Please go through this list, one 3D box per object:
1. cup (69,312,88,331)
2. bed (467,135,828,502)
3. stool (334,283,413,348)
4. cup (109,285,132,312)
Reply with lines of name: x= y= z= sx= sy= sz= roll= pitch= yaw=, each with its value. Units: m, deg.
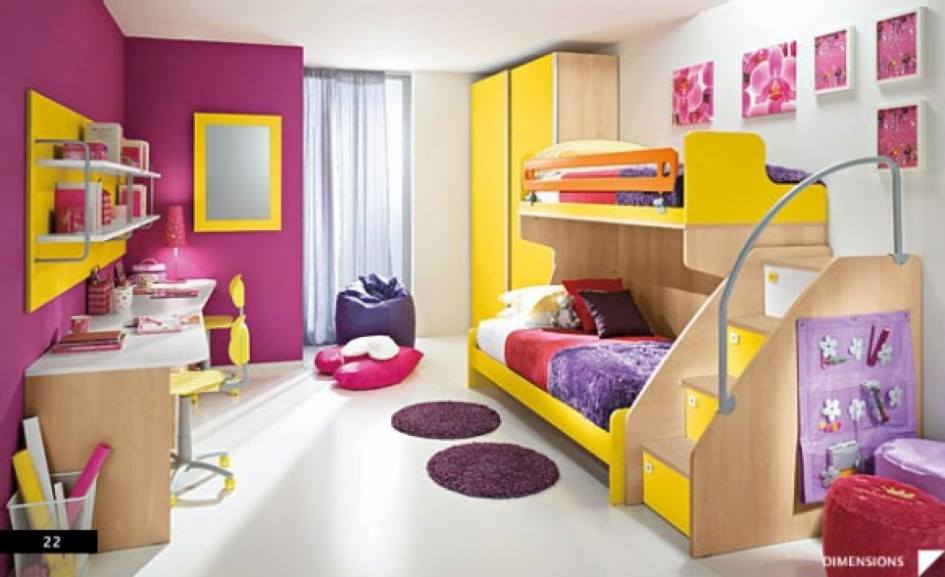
cup: x=-2.503 y=0.208 z=4.070 sx=0.122 sy=0.086 sz=0.106 roll=-4 pitch=9 yaw=-33
bed: x=1.253 y=0.000 z=5.284 sx=1.768 sy=2.217 sz=2.639 roll=2 pitch=5 yaw=-18
stool: x=-1.004 y=0.242 z=6.556 sx=0.665 sy=0.557 sz=0.647 roll=-1 pitch=3 yaw=-20
cup: x=-2.630 y=0.058 z=4.725 sx=0.203 sy=0.187 sz=0.130 roll=3 pitch=0 yaw=21
